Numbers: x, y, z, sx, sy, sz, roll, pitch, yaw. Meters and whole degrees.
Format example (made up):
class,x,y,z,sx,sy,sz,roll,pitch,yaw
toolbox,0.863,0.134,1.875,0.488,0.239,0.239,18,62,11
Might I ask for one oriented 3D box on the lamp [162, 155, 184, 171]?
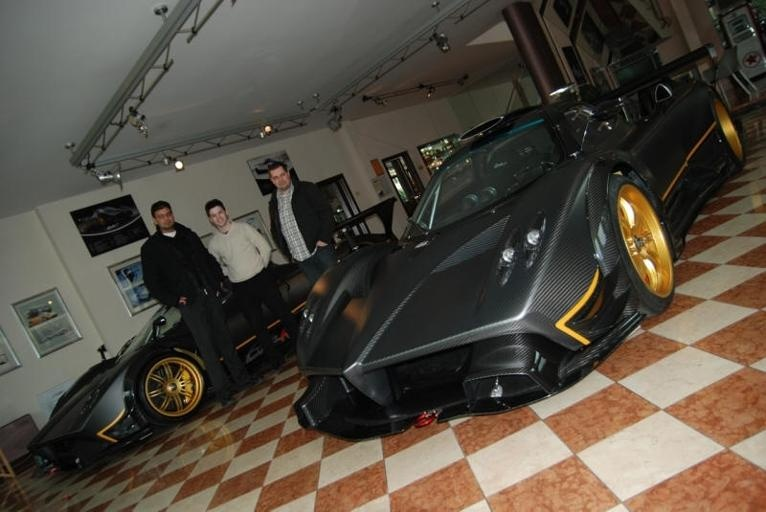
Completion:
class,x,y,z,sx,sy,sz,roll,pitch,yaw
lamp,-3.675,-1.668,7.784,0.288,0.278,0.496,-25,22,-30

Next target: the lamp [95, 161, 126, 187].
class,x,y,z,sx,sy,sz,roll,pitch,yaw
lamp,-4.352,-1.228,7.135,0.413,0.428,0.163,-6,-33,-45

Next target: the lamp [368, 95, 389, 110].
class,x,y,z,sx,sy,sz,roll,pitch,yaw
lamp,-0.127,-4.136,11.768,0.443,0.339,0.172,-16,4,0

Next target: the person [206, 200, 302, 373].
class,x,y,z,sx,sy,sz,roll,pitch,yaw
person,-1.472,0.284,5.191,0.617,2.070,0.612,-29,19,-16

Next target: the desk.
class,x,y,z,sx,sy,sz,roll,pitch,yaw
desk,-0.274,-0.427,6.813,1.083,1.363,1.005,-3,3,-2

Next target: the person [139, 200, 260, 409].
class,x,y,z,sx,sy,sz,roll,pitch,yaw
person,-2.011,0.492,4.840,0.740,2.103,0.364,-28,15,-28

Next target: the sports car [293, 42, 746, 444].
class,x,y,z,sx,sy,sz,roll,pitch,yaw
sports car,1.302,-0.329,3.476,3.865,1.252,1.821,-40,7,-40

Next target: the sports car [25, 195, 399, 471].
class,x,y,z,sx,sy,sz,roll,pitch,yaw
sports car,-2.271,1.195,5.258,3.196,1.029,1.765,-32,-2,-31
